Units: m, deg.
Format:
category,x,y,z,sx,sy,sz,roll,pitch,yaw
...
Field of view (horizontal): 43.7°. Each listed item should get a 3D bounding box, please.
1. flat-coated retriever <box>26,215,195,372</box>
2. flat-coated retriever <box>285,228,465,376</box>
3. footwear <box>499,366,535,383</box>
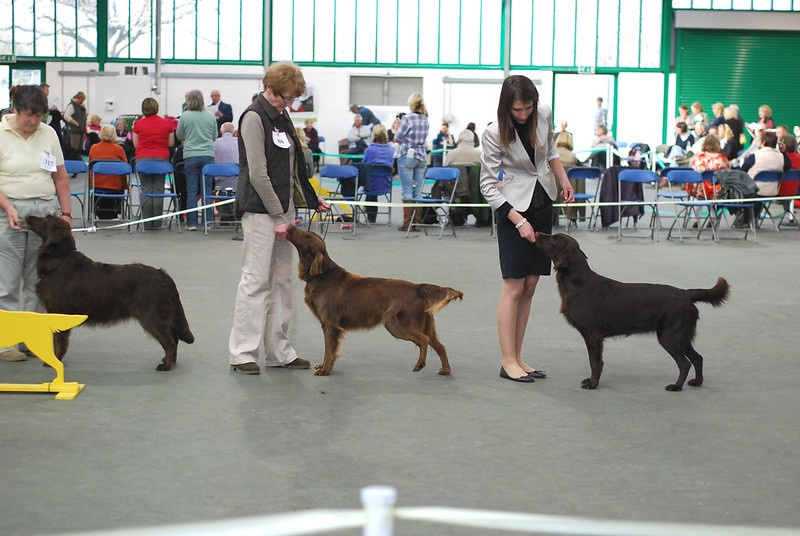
category,x,y,z,sx,sy,sz,roll,pitch,yaw
flat-coated retriever,-2.317,0.200,8.121,1.513,1.126,0.508,5,11,14
flat-coated retriever,-0.224,0.313,8.099,1.592,1.030,0.403,4,0,16
footwear,0.939,0.878,8.124,0.283,0.101,0.102,0,2,21
